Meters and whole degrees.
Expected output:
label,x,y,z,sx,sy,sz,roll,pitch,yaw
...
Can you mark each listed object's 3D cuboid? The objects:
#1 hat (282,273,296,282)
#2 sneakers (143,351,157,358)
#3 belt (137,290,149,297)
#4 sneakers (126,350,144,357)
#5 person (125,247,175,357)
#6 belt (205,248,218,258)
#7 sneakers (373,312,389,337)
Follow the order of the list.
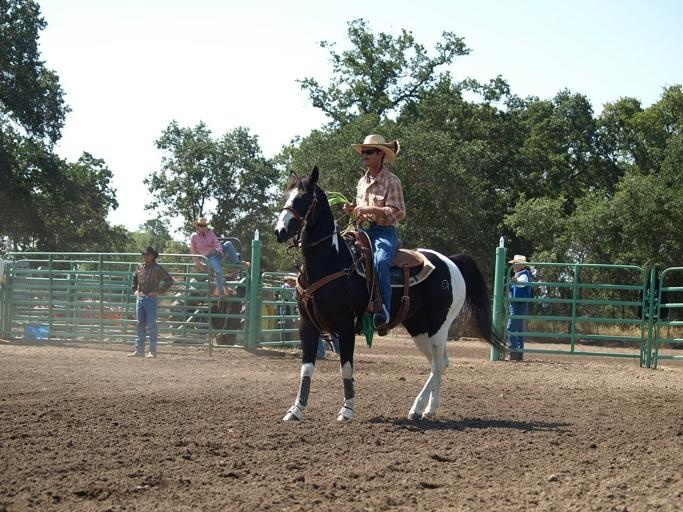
label,x,y,z,sx,sy,sz,roll,pitch,yaw
hat,-1.268,0.521,21.424,0.284,0.084,0.334,-4,-10,8
sneakers,-4.181,2.150,18.739,0.323,0.253,0.123,5,-9,-23
belt,-4.367,0.810,18.785,0.351,0.143,0.073,6,10,28
sneakers,-4.547,2.140,18.763,0.404,0.192,0.156,4,1,7
person,-4.255,1.006,18.922,0.911,2.540,1.309,-2,9,-22
belt,-3.009,-0.097,20.085,0.113,0.144,0.298,9,11,41
sneakers,0.609,1.046,13.049,0.134,0.208,0.453,-1,-41,5
